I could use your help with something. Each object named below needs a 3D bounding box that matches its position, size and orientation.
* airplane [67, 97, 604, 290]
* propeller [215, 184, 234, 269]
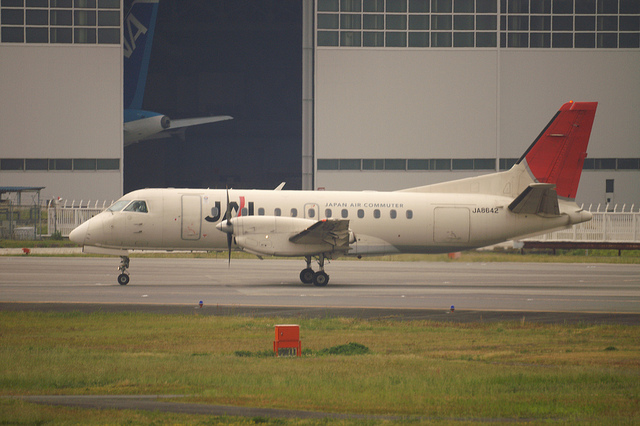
[{"bbox_3d":[1.184,-1.469,104.270,36.766,13.527,36.557,1,-3,0],"label":"airplane"},{"bbox_3d":[-6.770,0.673,101.223,1.201,4.658,1.515,2,2,-5],"label":"propeller"}]
